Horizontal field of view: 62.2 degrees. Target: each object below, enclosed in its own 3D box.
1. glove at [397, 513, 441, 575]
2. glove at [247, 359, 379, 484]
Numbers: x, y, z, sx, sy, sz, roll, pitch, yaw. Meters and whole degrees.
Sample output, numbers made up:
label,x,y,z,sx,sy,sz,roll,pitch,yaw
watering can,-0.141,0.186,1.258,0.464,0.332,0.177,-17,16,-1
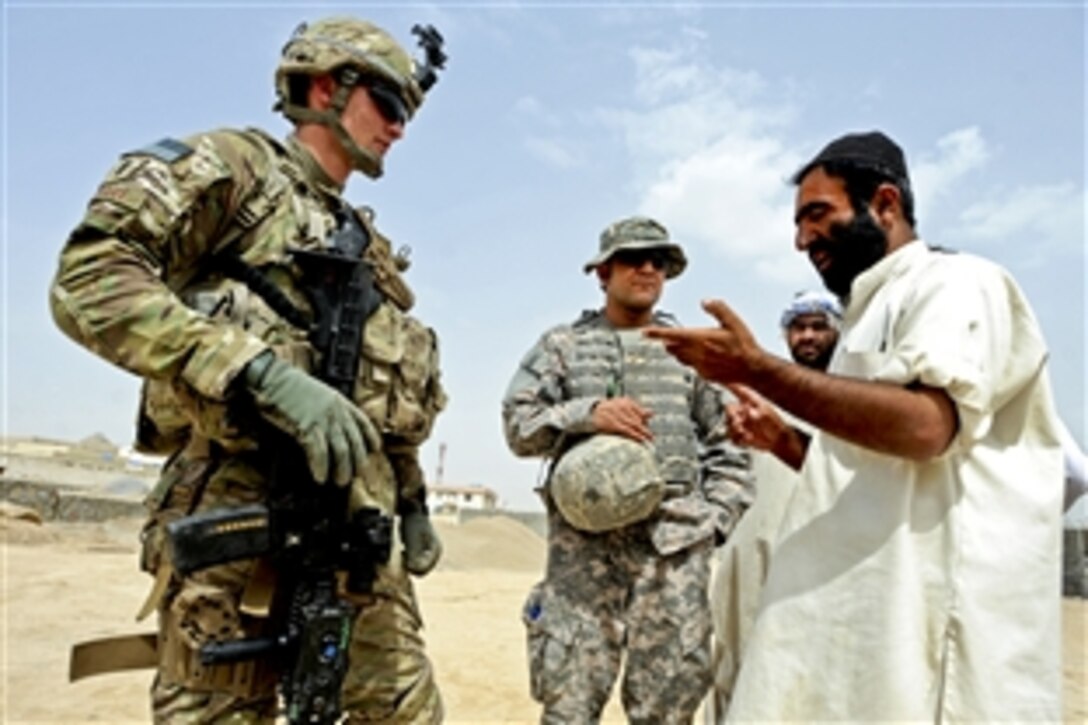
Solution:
label,x,y,z,sx,sy,sz,roll,pitch,yaw
glove,-0.652,0.930,4.621,0.227,0.302,0.125,7,-33,-33
glove,-0.961,0.212,3.758,0.241,0.385,0.576,-36,-71,30
